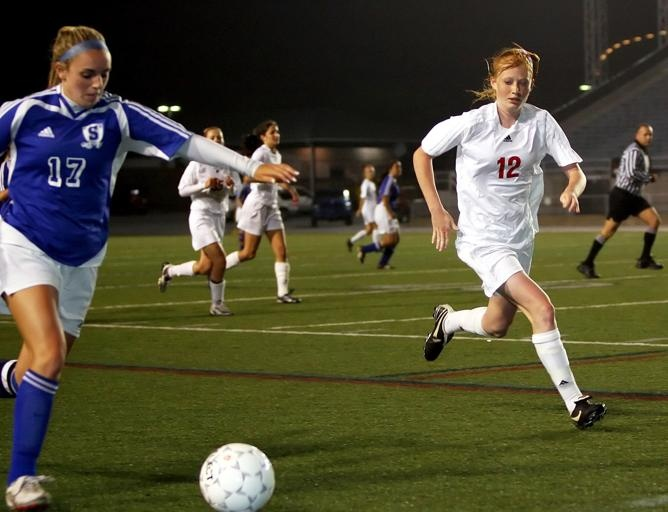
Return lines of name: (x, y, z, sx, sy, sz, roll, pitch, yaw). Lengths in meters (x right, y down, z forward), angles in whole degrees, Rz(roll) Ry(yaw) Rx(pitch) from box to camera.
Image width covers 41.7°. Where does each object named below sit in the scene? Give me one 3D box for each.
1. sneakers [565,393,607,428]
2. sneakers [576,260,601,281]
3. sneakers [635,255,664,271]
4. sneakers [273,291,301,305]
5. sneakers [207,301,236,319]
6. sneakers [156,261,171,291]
sneakers: (1.669, 0.997, 5.607, 0.269, 0.141, 0.150, -29, 4, 38)
sneakers: (4.161, 0.238, 14.384, 0.516, 0.207, 0.167, 28, 17, 11)
sneakers: (5.495, 0.140, 15.047, 0.632, 0.221, 0.194, 1, -2, -11)
sneakers: (-0.661, 0.598, 11.900, 0.413, 0.143, 0.125, 0, 0, 9)
sneakers: (-1.435, 0.681, 10.887, 0.378, 0.134, 0.121, -1, 2, 16)
sneakers: (-2.656, 0.337, 13.559, 0.204, 0.471, 0.241, 1, 26, -24)
